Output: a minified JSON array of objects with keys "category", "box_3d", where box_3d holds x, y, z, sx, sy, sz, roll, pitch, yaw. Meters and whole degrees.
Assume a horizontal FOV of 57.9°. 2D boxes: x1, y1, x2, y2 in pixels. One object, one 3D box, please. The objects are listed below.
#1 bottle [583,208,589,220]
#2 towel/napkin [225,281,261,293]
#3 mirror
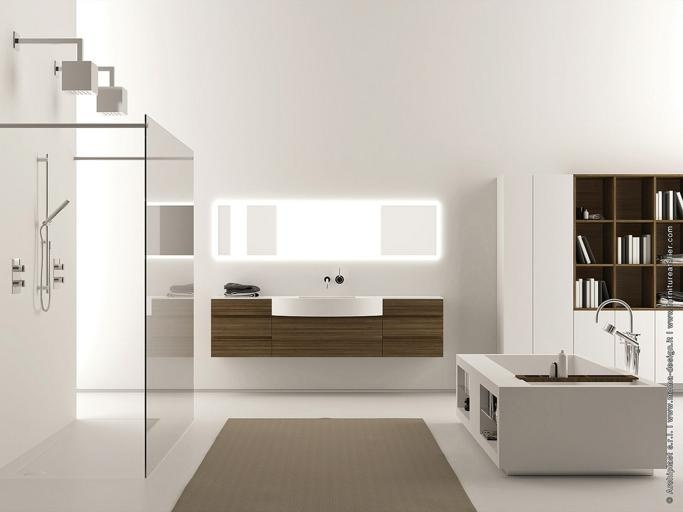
[{"category":"bottle","box_3d":[2.732,-0.463,6.933,0.073,0.105,0.152,3,9,21]},{"category":"towel/napkin","box_3d":[-1.124,0.374,7.064,0.467,0.175,0.139,2,-4,-3]},{"category":"mirror","box_3d":[-0.158,-0.299,7.191,2.627,0.664,0.242,1,8,2]}]
